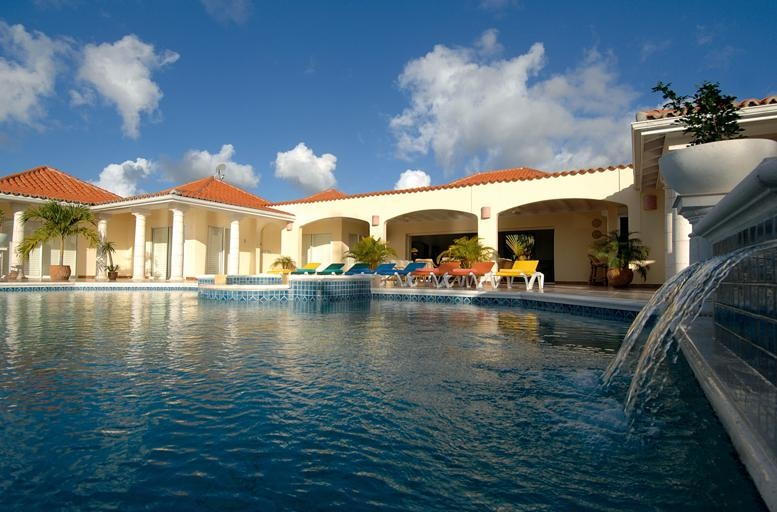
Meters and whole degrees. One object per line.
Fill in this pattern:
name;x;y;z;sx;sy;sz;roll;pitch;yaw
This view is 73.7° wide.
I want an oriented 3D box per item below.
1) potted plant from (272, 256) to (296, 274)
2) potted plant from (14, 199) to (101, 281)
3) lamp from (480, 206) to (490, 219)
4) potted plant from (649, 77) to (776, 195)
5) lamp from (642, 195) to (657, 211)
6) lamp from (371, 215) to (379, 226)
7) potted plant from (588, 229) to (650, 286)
potted plant;-4.600;0.345;22.698;0.890;0.573;0.869;0;-2;-3
potted plant;-12.355;-0.655;19.742;2.436;2.820;3.022;0;2;17
lamp;3.380;-1.518;18.104;0.351;0.375;0.352;0;-3;2
potted plant;4.365;-1.721;7.064;1.213;1.952;1.554;-2;-4;26
lamp;7.689;-1.576;15.233;0.440;0.484;0.430;-1;-1;-22
lamp;-0.562;-1.433;20.590;0.415;0.398;0.123;-3;-4;37
potted plant;6.871;0.198;15.397;1.442;1.403;1.280;-12;15;-41
